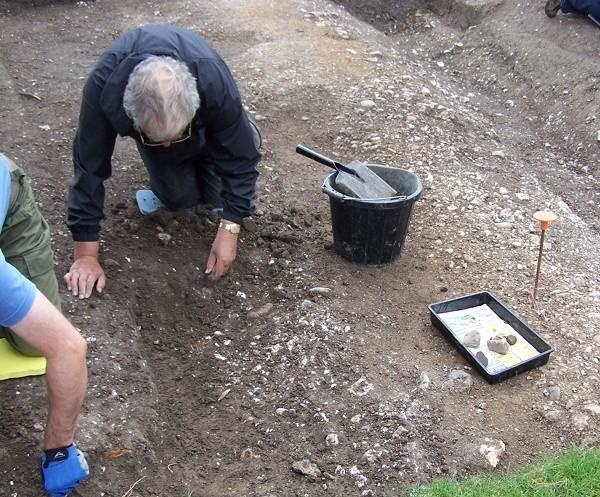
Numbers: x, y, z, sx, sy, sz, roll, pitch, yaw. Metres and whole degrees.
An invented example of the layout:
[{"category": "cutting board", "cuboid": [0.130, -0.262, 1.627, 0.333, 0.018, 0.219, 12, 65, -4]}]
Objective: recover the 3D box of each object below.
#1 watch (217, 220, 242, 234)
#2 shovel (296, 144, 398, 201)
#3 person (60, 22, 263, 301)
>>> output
[{"category": "watch", "cuboid": [-0.400, -0.118, 3.642, 0.108, 0.053, 0.104, 12, -5, 44]}, {"category": "shovel", "cuboid": [0.341, -0.400, 3.851, 0.630, 0.087, 0.277, 28, 41, -9]}, {"category": "person", "cuboid": [-0.747, -0.472, 3.560, 1.044, 1.278, 0.972, -4, 45, -17]}]
